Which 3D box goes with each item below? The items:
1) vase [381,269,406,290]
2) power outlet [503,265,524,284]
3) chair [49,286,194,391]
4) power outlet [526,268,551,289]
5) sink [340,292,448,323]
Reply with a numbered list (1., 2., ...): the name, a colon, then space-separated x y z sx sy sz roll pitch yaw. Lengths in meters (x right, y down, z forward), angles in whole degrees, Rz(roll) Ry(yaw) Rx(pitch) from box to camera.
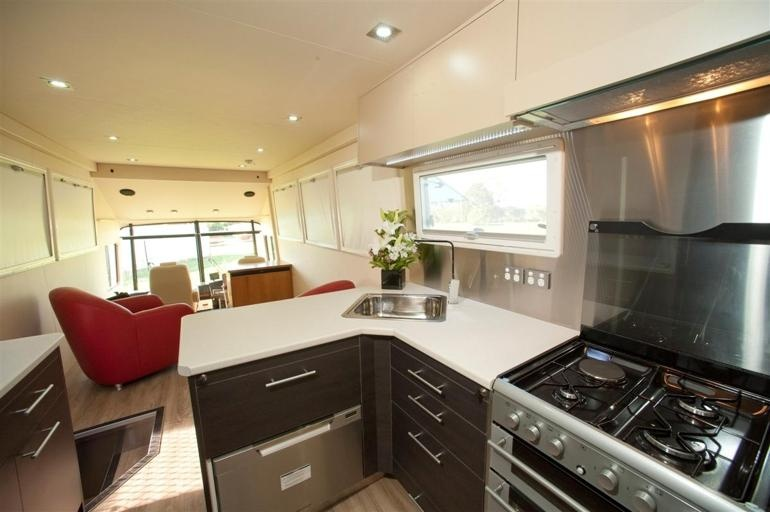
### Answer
1. vase: 0.065 0.162 3.790 0.164 0.140 0.163 3 9 19
2. power outlet: 0.846 0.113 3.145 0.023 0.083 0.117 -3 7 -29
3. chair: -2.474 0.690 4.627 0.904 0.960 1.138 4 11 35
4. power outlet: 0.971 0.136 3.026 0.019 0.090 0.129 -3 4 -41
5. sink: 0.097 0.358 3.400 0.689 0.173 0.505 -4 4 10
